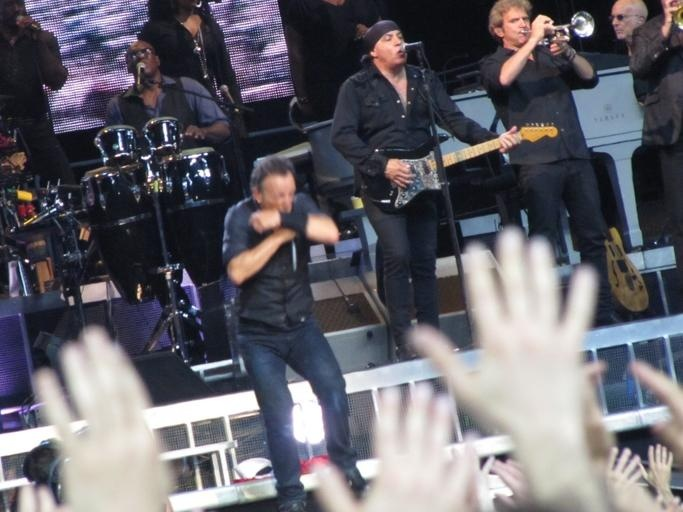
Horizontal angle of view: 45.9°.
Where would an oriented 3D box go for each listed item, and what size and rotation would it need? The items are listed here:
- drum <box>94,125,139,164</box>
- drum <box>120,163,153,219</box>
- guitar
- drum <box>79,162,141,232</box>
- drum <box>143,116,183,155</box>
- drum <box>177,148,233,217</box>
[{"bbox_3d":[-1.272,-0.636,4.707,0.185,0.239,0.209,4,17,36],"label":"drum"},{"bbox_3d":[-1.219,-0.388,4.819,0.142,0.314,0.150,1,13,0],"label":"drum"},{"bbox_3d":[0.546,-0.428,4.076,1.068,0.380,0.109,-15,-10,-3],"label":"guitar"},{"bbox_3d":[-1.250,-0.274,4.977,0.494,0.454,0.486,-4,-6,-17],"label":"drum"},{"bbox_3d":[-1.037,-0.699,4.775,0.255,0.215,0.253,-6,-4,-26],"label":"drum"},{"bbox_3d":[-0.887,-0.446,4.865,0.338,0.306,0.337,-8,-1,18],"label":"drum"}]
